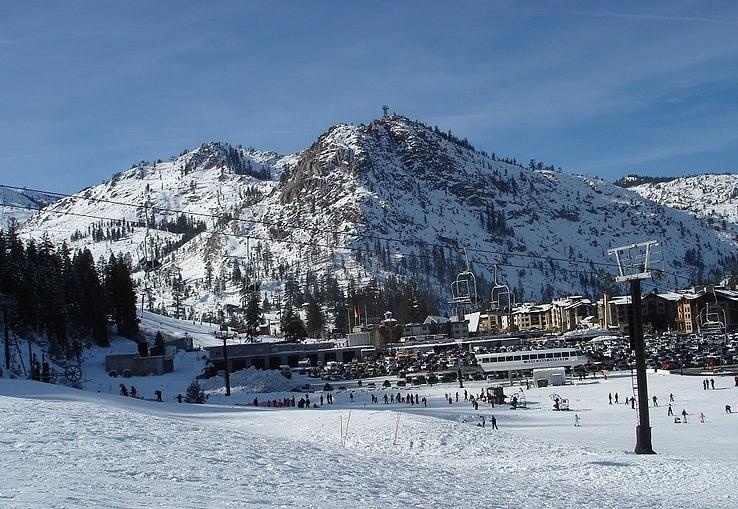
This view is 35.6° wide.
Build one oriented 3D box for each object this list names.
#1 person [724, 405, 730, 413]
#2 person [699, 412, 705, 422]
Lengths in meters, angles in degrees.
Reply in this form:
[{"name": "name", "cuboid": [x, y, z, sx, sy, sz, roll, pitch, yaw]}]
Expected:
[{"name": "person", "cuboid": [58.097, 24.879, 184.976, 0.976, 1.389, 1.809, -7, -8, 15]}, {"name": "person", "cuboid": [53.203, 25.892, 182.729, 1.150, 1.782, 0.658, -2, 1, 39]}]
